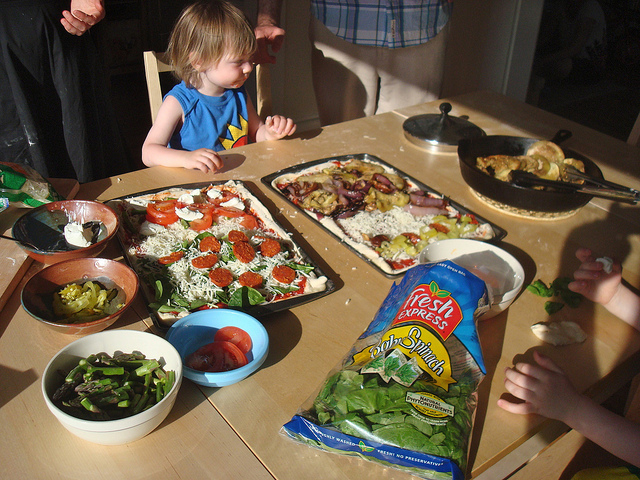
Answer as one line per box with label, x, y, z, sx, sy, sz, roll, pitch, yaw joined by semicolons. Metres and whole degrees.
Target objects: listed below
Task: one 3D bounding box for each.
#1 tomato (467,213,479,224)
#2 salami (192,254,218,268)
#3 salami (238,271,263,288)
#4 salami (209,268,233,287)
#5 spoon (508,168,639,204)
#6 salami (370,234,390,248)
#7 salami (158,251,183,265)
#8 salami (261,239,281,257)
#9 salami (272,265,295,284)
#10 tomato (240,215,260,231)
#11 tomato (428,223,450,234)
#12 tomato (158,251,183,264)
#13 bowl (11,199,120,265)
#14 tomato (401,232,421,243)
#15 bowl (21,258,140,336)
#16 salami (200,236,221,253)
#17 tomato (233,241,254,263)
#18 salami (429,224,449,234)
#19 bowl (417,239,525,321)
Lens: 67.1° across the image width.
tomato;0.518;-0.071;1.635;0.036;0.016;0.060;1;39;6
salami;-0.329;0.063;1.379;0.072;0.016;0.047;-22;42;-21
salami;-0.194;0.113;1.345;0.059;0.022;0.060;24;46;30
salami;-0.277;0.103;1.342;0.059;0.022;0.068;-21;42;-20
spoon;0.826;-0.176;1.603;0.406;0.059;0.093;12;16;14
salami;0.195;-0.003;1.564;0.038;0.013;0.047;18;34;24
salami;-0.430;0.052;1.389;0.056;0.014;0.031;-19;42;-27
salami;-0.150;0.026;1.445;0.055;0.015;0.066;-4;39;0
salami;-0.105;0.098;1.379;0.063;0.024;0.063;6;40;12
tomato;-0.228;-0.053;1.548;0.059;0.025;0.053;18;44;25
tomato;0.399;-0.042;1.611;0.029;0.014;0.051;5;18;-24
tomato;-0.431;0.052;1.389;0.054;0.014;0.031;-17;34;-20
bowl;-0.737;-0.034;1.412;0.221;0.087;0.225;5;41;-4
tomato;0.301;-0.011;1.583;0.054;0.017;0.062;-3;39;1
bowl;-0.603;0.159;1.230;0.245;0.097;0.249;4;36;-3
salami;-0.329;0.014;1.441;0.061;0.018;0.062;-7;39;-4
tomato;-0.222;0.035;1.406;0.058;0.028;0.072;-28;44;-27
salami;0.399;-0.040;1.608;0.028;0.012;0.049;-5;29;-24
bowl;0.471;0.141;1.432;0.246;0.097;0.249;1;41;-1
